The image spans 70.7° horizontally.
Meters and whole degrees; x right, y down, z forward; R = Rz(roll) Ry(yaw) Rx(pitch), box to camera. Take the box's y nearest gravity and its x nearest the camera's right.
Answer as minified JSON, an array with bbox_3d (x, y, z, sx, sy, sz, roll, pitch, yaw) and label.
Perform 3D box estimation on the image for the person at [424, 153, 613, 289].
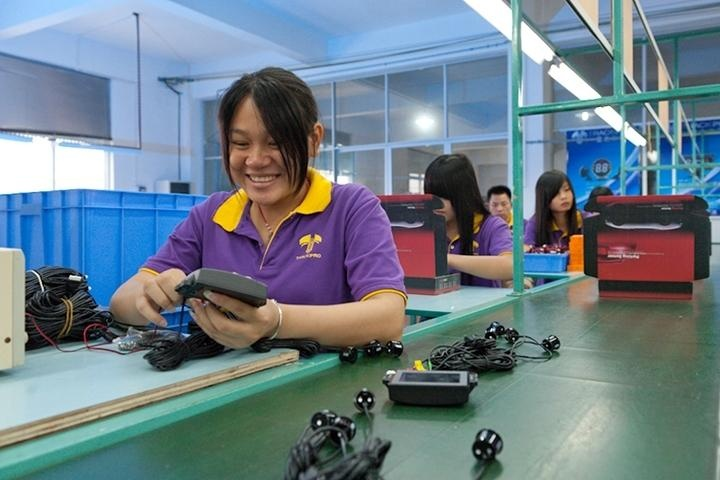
[{"bbox_3d":[1.078,-0.180,3.559,1.324,0.807,1.925,1,9,3],"label":"person"}]

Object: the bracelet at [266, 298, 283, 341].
[{"bbox_3d":[-0.198,0.197,1.235,0.022,0.076,0.080,2,6,-34],"label":"bracelet"}]
